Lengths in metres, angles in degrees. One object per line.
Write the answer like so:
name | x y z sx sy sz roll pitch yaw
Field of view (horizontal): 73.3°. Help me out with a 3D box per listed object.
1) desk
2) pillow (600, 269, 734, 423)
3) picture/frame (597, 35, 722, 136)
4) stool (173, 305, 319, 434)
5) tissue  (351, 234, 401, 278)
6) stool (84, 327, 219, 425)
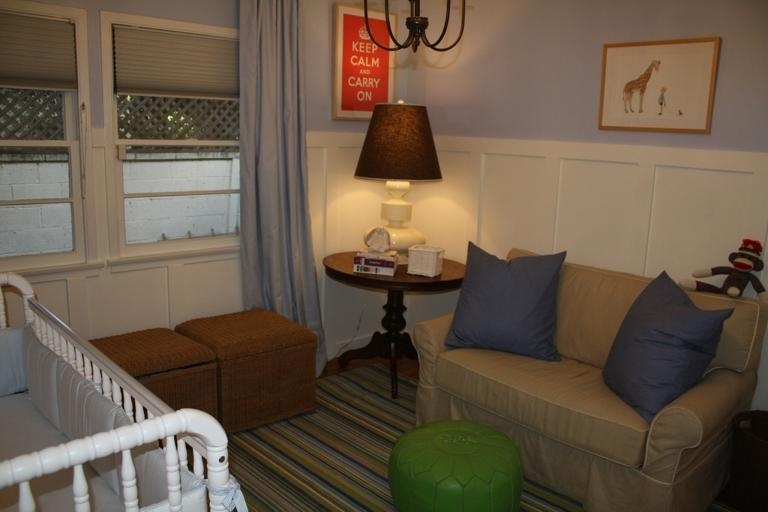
desk | 0.049 0.294 3.942 1.055 0.808 1.040 -14 21 -42
pillow | 1.521 0.458 2.740 0.557 0.651 0.436 -3 13 -19
picture/frame | 1.672 -1.027 3.093 0.652 0.522 0.044 9 17 38
stool | -0.902 0.638 3.521 0.751 0.610 0.748 -8 15 -34
tissue  | -0.061 -0.039 3.682 0.303 0.295 0.297 2 12 5
stool | -1.495 0.727 3.107 0.587 0.376 0.833 16 19 39
